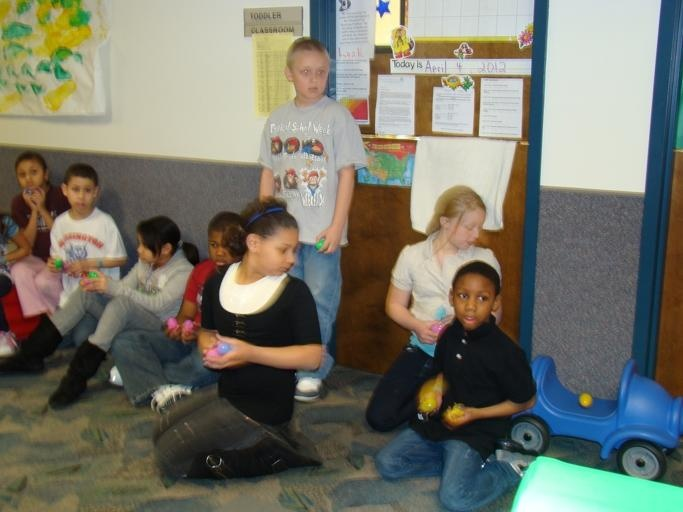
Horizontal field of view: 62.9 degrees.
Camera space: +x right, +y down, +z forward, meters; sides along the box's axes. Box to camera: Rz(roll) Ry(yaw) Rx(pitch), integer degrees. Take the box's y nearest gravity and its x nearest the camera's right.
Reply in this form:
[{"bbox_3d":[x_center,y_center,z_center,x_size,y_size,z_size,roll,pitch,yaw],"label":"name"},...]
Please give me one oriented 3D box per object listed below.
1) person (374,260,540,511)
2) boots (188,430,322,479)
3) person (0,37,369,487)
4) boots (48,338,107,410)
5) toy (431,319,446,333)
[{"bbox_3d":[0.523,0.523,2.376,0.535,0.925,0.551,12,19,34],"label":"person"},{"bbox_3d":[-0.350,0.860,2.344,0.385,0.143,0.295,-4,4,-8],"label":"boots"},{"bbox_3d":[-0.416,-0.051,2.590,1.009,1.882,1.075,1,16,3],"label":"person"},{"bbox_3d":[-1.483,0.638,3.070,0.243,0.301,0.736,12,-5,-12],"label":"boots"},{"bbox_3d":[0.450,0.341,2.637,0.045,0.061,0.028,17,-11,23],"label":"toy"}]
